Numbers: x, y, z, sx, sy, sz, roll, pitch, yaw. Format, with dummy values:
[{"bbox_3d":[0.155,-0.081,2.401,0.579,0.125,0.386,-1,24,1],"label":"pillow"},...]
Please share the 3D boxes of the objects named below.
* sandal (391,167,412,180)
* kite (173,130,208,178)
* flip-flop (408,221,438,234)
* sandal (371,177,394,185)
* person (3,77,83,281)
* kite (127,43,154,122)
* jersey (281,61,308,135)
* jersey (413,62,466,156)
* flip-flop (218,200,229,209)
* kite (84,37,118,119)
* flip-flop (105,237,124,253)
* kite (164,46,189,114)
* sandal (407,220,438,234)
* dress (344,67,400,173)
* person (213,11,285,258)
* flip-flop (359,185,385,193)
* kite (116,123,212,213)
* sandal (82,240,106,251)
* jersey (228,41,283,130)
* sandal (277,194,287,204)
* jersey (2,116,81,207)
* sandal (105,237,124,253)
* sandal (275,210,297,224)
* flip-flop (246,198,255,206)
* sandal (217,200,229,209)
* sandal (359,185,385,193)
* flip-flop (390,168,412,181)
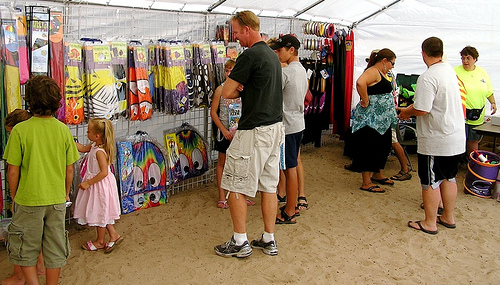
[{"bbox_3d":[3.140,0.672,6.974,0.387,0.158,0.142,-3,9,-13],"label":"sandal"},{"bbox_3d":[-1.119,0.197,6.069,0.853,0.968,0.064,-3,3,-45],"label":"kite"},{"bbox_3d":[2.727,1.357,5.314,0.155,0.113,0.398,-14,28,-41],"label":"flip-flop"},{"bbox_3d":[2.675,0.758,6.796,0.347,0.095,0.140,6,13,33],"label":"sandal"},{"bbox_3d":[-2.307,0.425,3.667,0.829,2.199,0.431,-10,18,-28],"label":"person"},{"bbox_3d":[-1.744,-0.932,5.158,0.384,1.136,0.178,-13,20,-35],"label":"kite"},{"bbox_3d":[0.669,-0.682,5.076,0.425,1.064,0.321,-3,16,-4],"label":"jersey"},{"bbox_3d":[2.975,-0.502,5.237,1.134,1.301,0.709,-1,3,-30],"label":"jersey"},{"bbox_3d":[-0.449,1.060,5.698,0.205,0.088,0.071,3,5,28],"label":"flip-flop"},{"bbox_3d":[-2.147,-0.916,4.826,0.404,1.031,0.231,-8,17,-22],"label":"kite"},{"bbox_3d":[-1.865,1.399,4.616,0.081,0.118,0.281,24,41,21],"label":"flip-flop"},{"bbox_3d":[-1.162,-1.038,5.497,0.171,1.043,0.445,8,19,31],"label":"kite"},{"bbox_3d":[2.718,1.336,5.294,0.148,0.103,0.377,-11,25,-41],"label":"sandal"},{"bbox_3d":[2.307,-0.387,6.254,0.797,1.993,0.327,-2,16,-2],"label":"dress"},{"bbox_3d":[0.020,-0.036,4.382,0.828,3.193,0.659,-1,16,2],"label":"person"},{"bbox_3d":[2.387,0.882,6.425,0.278,0.070,0.152,2,15,18],"label":"flip-flop"},{"bbox_3d":[-1.533,0.437,5.724,0.061,0.860,1.371,5,13,38],"label":"kite"},{"bbox_3d":[-2.156,1.421,4.608,0.248,0.084,0.129,13,11,-36],"label":"sandal"},{"bbox_3d":[0.116,-0.713,4.524,0.568,1.141,0.974,0,-2,31],"label":"jersey"},{"bbox_3d":[0.555,0.995,5.941,0.136,0.124,0.128,-2,17,0],"label":"sandal"},{"bbox_3d":[-2.255,0.204,3.663,0.647,0.948,0.269,-11,19,-30],"label":"jersey"},{"bbox_3d":[-1.862,1.383,4.645,0.079,0.114,0.275,24,37,22],"label":"sandal"},{"bbox_3d":[0.563,1.195,5.380,0.330,0.143,0.146,3,8,-2],"label":"sandal"},{"bbox_3d":[-0.007,1.029,5.876,0.205,0.091,0.069,3,12,10],"label":"flip-flop"},{"bbox_3d":[-0.478,1.054,5.725,0.167,0.062,0.104,3,7,21],"label":"sandal"},{"bbox_3d":[2.349,0.888,6.457,0.328,0.081,0.155,2,11,24],"label":"sandal"},{"bbox_3d":[3.142,0.667,6.978,0.422,0.172,0.195,-2,13,-8],"label":"flip-flop"}]
